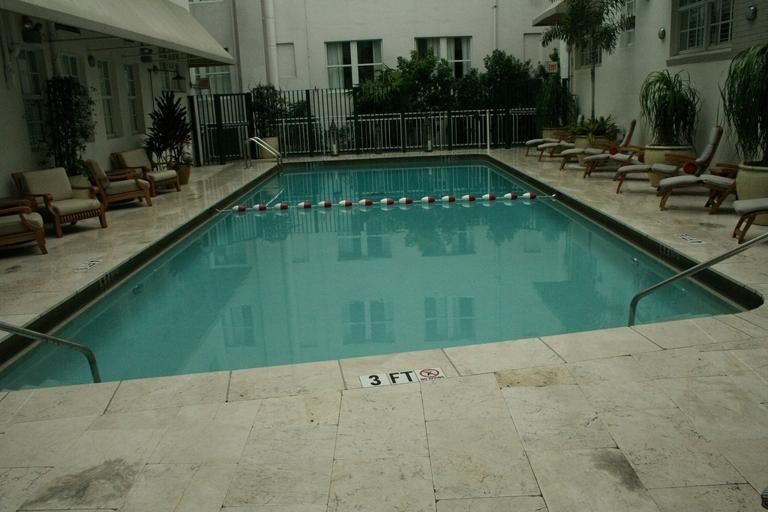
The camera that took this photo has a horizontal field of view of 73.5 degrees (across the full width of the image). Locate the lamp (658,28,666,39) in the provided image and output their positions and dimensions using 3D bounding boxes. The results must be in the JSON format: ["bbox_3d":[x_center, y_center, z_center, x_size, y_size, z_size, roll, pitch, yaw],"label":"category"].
[{"bbox_3d":[6.806,-5.421,12.625,0.095,0.267,0.298,0,18,12],"label":"lamp"}]

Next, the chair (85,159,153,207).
[{"bbox_3d":[-6.125,-1.673,11.995,1.403,1.191,0.979,-8,24,-25],"label":"chair"}]

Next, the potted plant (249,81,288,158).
[{"bbox_3d":[-4.623,-5.534,20.868,1.174,2.503,1.436,0,18,11],"label":"potted plant"}]

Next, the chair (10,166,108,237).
[{"bbox_3d":[-6.034,-0.880,9.963,1.574,1.427,1.261,21,27,24],"label":"chair"}]

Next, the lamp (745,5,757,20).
[{"bbox_3d":[6.528,-4.303,9.141,0.082,0.259,0.236,-1,18,8],"label":"lamp"}]
